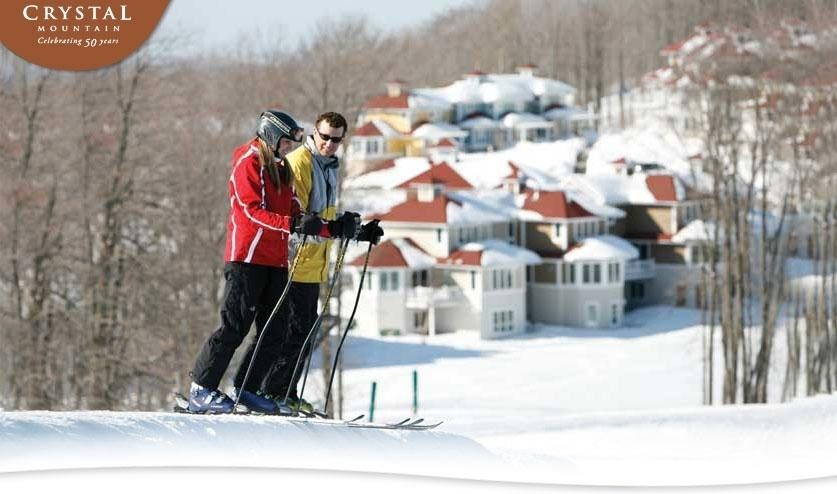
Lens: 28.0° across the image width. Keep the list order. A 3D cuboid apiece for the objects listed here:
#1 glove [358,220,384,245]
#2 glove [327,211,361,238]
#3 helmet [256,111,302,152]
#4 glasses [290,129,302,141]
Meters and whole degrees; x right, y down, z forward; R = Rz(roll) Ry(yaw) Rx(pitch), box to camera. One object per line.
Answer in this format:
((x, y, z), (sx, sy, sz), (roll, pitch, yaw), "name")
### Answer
((-0.519, -0.175, 19.443), (0.318, 0.287, 0.250), (8, 4, 16), "glove")
((-0.848, -0.245, 19.280), (0.386, 0.288, 0.172), (-6, -12, -3), "glove")
((-1.602, -1.344, 19.412), (0.540, 0.382, 0.384), (17, 0, -4), "helmet")
((-1.387, -1.290, 19.325), (0.112, 0.138, 0.146), (5, -8, 2), "glasses")
